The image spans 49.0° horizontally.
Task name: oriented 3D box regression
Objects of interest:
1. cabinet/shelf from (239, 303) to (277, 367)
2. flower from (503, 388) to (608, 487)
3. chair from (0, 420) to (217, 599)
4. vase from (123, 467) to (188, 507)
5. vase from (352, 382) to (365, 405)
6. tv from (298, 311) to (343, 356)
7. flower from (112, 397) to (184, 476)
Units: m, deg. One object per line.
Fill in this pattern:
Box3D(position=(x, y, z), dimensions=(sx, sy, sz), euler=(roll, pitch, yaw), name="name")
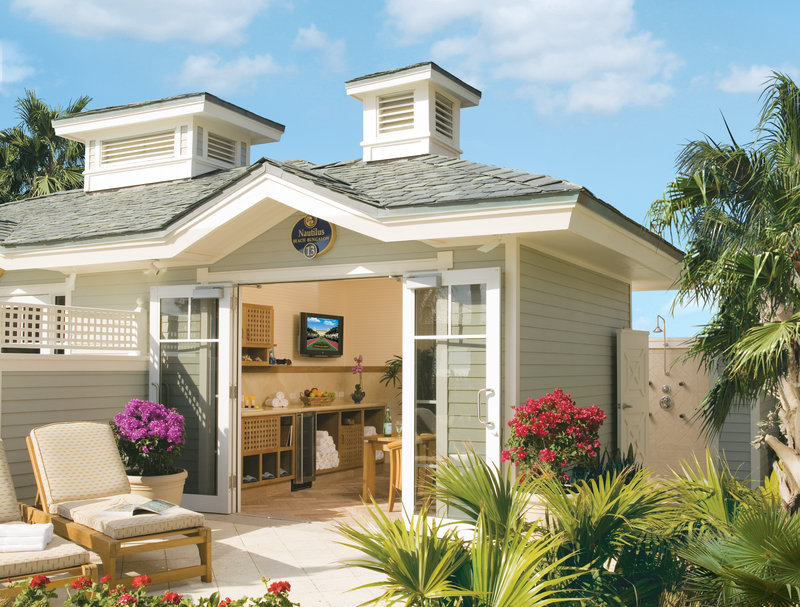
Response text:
Box3D(position=(-2.153, 0.463, 13.061), dimensions=(0.467, 0.938, 0.931), euler=(-1, -3, 23), name="cabinet/shelf")
Box3D(position=(1.524, 1.302, 8.631), dimensions=(0.957, 0.926, 0.553), euler=(-2, -8, 11), name="flower")
Box3D(position=(-2.920, 1.878, 8.525), dimensions=(2.259, 1.469, 1.194), euler=(-4, -3, 43), name="chair")
Box3D(position=(-2.827, 2.002, 10.082), dimensions=(0.567, 0.408, 0.572), euler=(-2, -2, 22), name="vase")
Box3D(position=(-0.779, 1.595, 15.521), dimensions=(0.269, 0.406, 0.314), euler=(0, -8, 18), name="vase")
Box3D(position=(-1.373, 0.544, 15.125), dimensions=(0.108, 0.783, 1.297), euler=(-5, -9, 29), name="tv")
Box3D(position=(-2.949, 1.549, 10.157), dimensions=(0.816, 1.019, 1.023), euler=(-3, -3, 9), name="flower")
